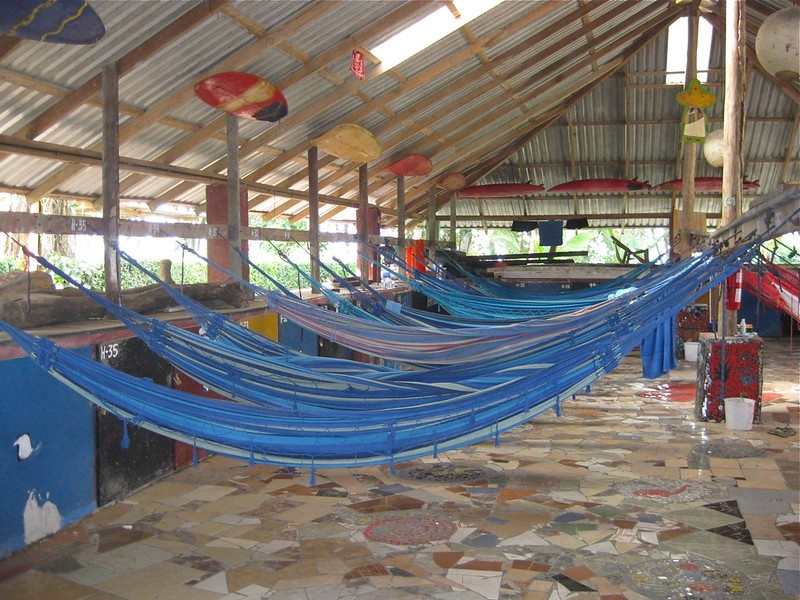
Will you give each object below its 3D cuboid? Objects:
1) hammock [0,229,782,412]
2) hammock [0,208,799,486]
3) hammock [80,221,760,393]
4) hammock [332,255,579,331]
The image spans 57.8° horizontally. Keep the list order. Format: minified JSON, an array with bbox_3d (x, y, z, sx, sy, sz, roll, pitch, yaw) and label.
[{"bbox_3d":[0.139,0.314,5.175,4.000,0.687,1.682,4,-5,2],"label":"hammock"},{"bbox_3d":[-0.146,0.543,4.953,5.361,1.106,1.960,-2,15,7],"label":"hammock"},{"bbox_3d":[0.705,-0.048,5.617,4.007,0.609,0.759,-4,1,11],"label":"hammock"},{"bbox_3d":[0.818,-0.054,6.771,1.700,0.482,0.524,1,-30,18],"label":"hammock"}]
